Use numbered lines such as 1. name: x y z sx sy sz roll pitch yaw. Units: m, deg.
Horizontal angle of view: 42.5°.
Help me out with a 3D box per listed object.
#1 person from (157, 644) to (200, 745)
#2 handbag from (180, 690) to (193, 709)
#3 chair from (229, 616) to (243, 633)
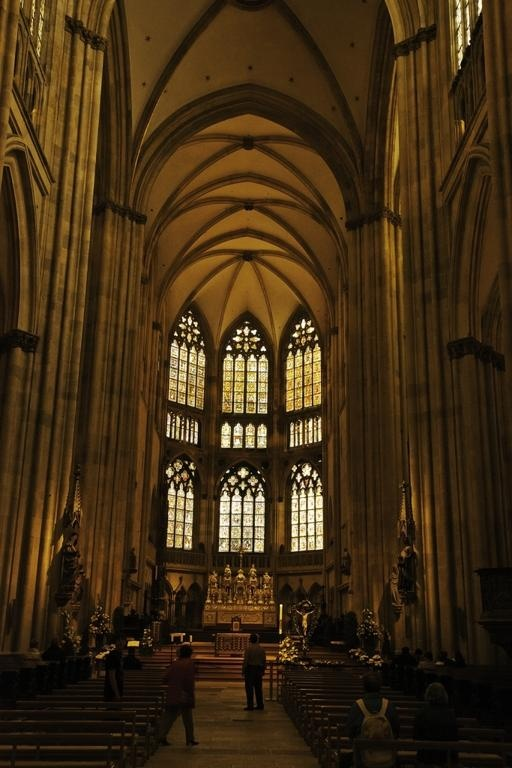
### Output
1. person: -0.715 2.877 6.217 0.252 0.968 0.273 4 1 7
2. handbag: -0.614 2.890 6.058 0.106 0.128 0.031 -5 -10 26
3. chair: -0.816 9.793 26.834 0.411 0.812 0.578 0 -51 0
